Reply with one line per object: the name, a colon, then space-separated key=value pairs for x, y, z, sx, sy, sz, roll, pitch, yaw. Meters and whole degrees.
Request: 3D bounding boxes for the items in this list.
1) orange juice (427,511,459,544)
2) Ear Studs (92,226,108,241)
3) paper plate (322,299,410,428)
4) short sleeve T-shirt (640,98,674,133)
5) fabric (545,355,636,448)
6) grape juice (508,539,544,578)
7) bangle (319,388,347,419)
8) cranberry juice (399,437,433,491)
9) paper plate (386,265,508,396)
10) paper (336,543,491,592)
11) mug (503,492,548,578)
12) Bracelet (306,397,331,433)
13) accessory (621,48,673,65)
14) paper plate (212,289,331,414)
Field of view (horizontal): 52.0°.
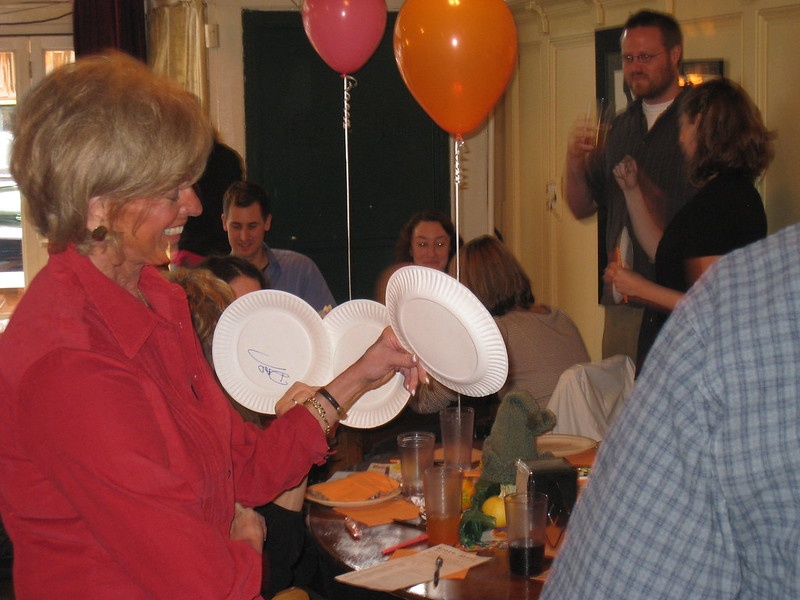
orange juice: x=0.097 y=0.506 z=1.823 sx=0.056 sy=0.073 sz=0.068 roll=-1 pitch=-9 yaw=-5
Ear Studs: x=-0.531 y=-0.119 z=1.452 sx=0.018 sy=0.021 sz=0.004 roll=0 pitch=14 yaw=-27
paper plate: x=-0.089 y=0.163 z=2.050 sx=0.250 sy=0.302 sz=0.040 roll=-16 pitch=-12 yaw=27
short sleeve T-shirt: x=1.143 y=-0.839 z=3.682 sx=0.100 sy=0.094 sz=0.109 roll=-1 pitch=10 yaw=3
fabric: x=0.694 y=0.325 z=2.832 sx=0.373 sy=0.237 sz=0.191 roll=-15 pitch=16 yaw=-36
grape juice: x=0.266 y=0.539 z=1.730 sx=0.083 sy=0.076 sz=0.088 roll=-5 pitch=-13 yaw=33
bangle: x=-0.150 y=0.228 z=1.837 sx=0.056 sy=0.018 sz=0.062 roll=42 pitch=-17 yaw=30
cranberry juice: x=0.015 y=0.431 z=2.111 sx=0.080 sy=0.149 sz=0.085 roll=4 pitch=-12 yaw=-22
paper plate: x=0.086 y=0.064 z=1.691 sx=0.294 sy=0.283 sz=0.087 roll=6 pitch=15 yaw=39
paper: x=0.032 y=0.564 z=1.718 sx=0.322 sy=0.031 sz=0.122 roll=-11 pitch=15 yaw=-25
mug: x=0.267 y=0.495 z=1.734 sx=0.087 sy=0.163 sz=0.093 roll=-2 pitch=-4 yaw=22
Bracelet: x=-0.179 y=0.250 z=1.819 sx=0.026 sy=0.071 sz=0.058 roll=-27 pitch=-32 yaw=-18
accessory: x=1.036 y=-1.038 z=3.521 sx=0.048 sy=0.046 sz=0.176 roll=-16 pitch=17 yaw=-42
paper plate: x=-0.317 y=0.117 z=2.043 sx=0.302 sy=0.350 sz=0.048 roll=22 pitch=-33 yaw=4
